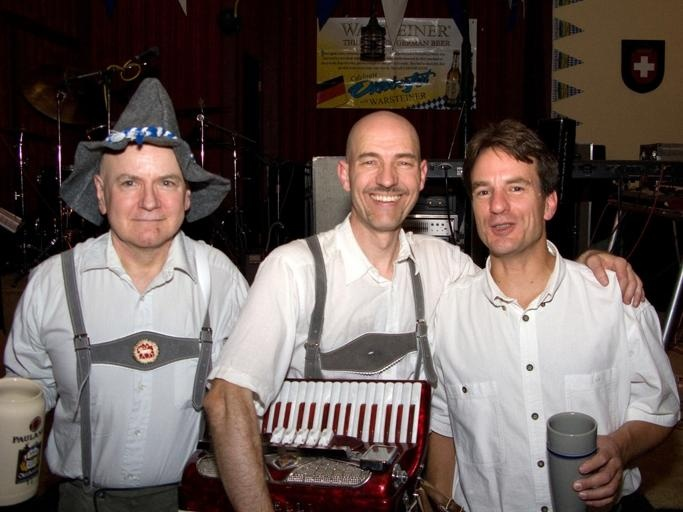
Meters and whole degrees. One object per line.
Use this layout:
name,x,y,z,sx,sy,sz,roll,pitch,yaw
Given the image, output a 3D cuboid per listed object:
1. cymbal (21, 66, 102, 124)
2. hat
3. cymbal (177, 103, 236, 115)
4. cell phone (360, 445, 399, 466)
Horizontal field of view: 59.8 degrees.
cymbal,-2.918,-1.796,6.274,0.741,0.847,0.173,9,29,22
hat,-0.860,-0.547,2.577,0.490,0.470,0.535,3,9,1
cymbal,-1.683,-1.704,6.973,0.408,0.079,0.413,-9,11,-37
cell phone,0.129,0.662,1.970,0.111,0.034,0.096,2,5,13
